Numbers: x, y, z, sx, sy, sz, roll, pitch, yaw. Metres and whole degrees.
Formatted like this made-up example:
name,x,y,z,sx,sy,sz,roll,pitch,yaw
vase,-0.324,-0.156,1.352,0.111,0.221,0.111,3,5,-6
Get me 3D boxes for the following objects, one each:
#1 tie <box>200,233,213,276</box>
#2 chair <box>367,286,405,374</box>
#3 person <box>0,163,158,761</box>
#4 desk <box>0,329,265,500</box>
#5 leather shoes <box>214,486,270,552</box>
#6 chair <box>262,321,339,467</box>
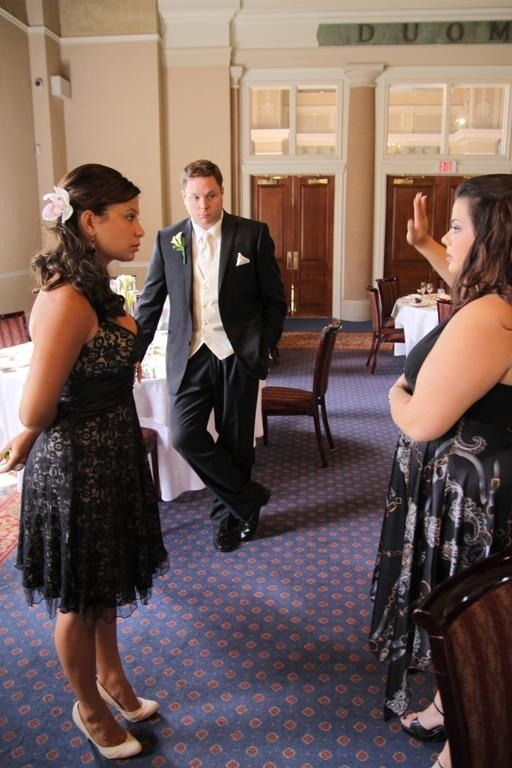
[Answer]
name,x,y,z,sx,sy,sz,roll,pitch,yaw
tie,-0.229,-0.600,2.680,0.094,0.225,0.083,-1,12,-5
chair,1.658,-0.698,6.883,0.637,0.900,0.554,4,16,16
person,-0.447,0.269,1.490,0.314,1.625,0.431,4,12,22
desk,-0.829,0.197,3.399,1.119,0.572,1.104,-1,7,1
leather shoes,-0.043,0.649,2.976,0.159,0.190,0.462,22,46,17
chair,0.296,0.049,4.205,0.609,0.917,0.548,2,8,16
